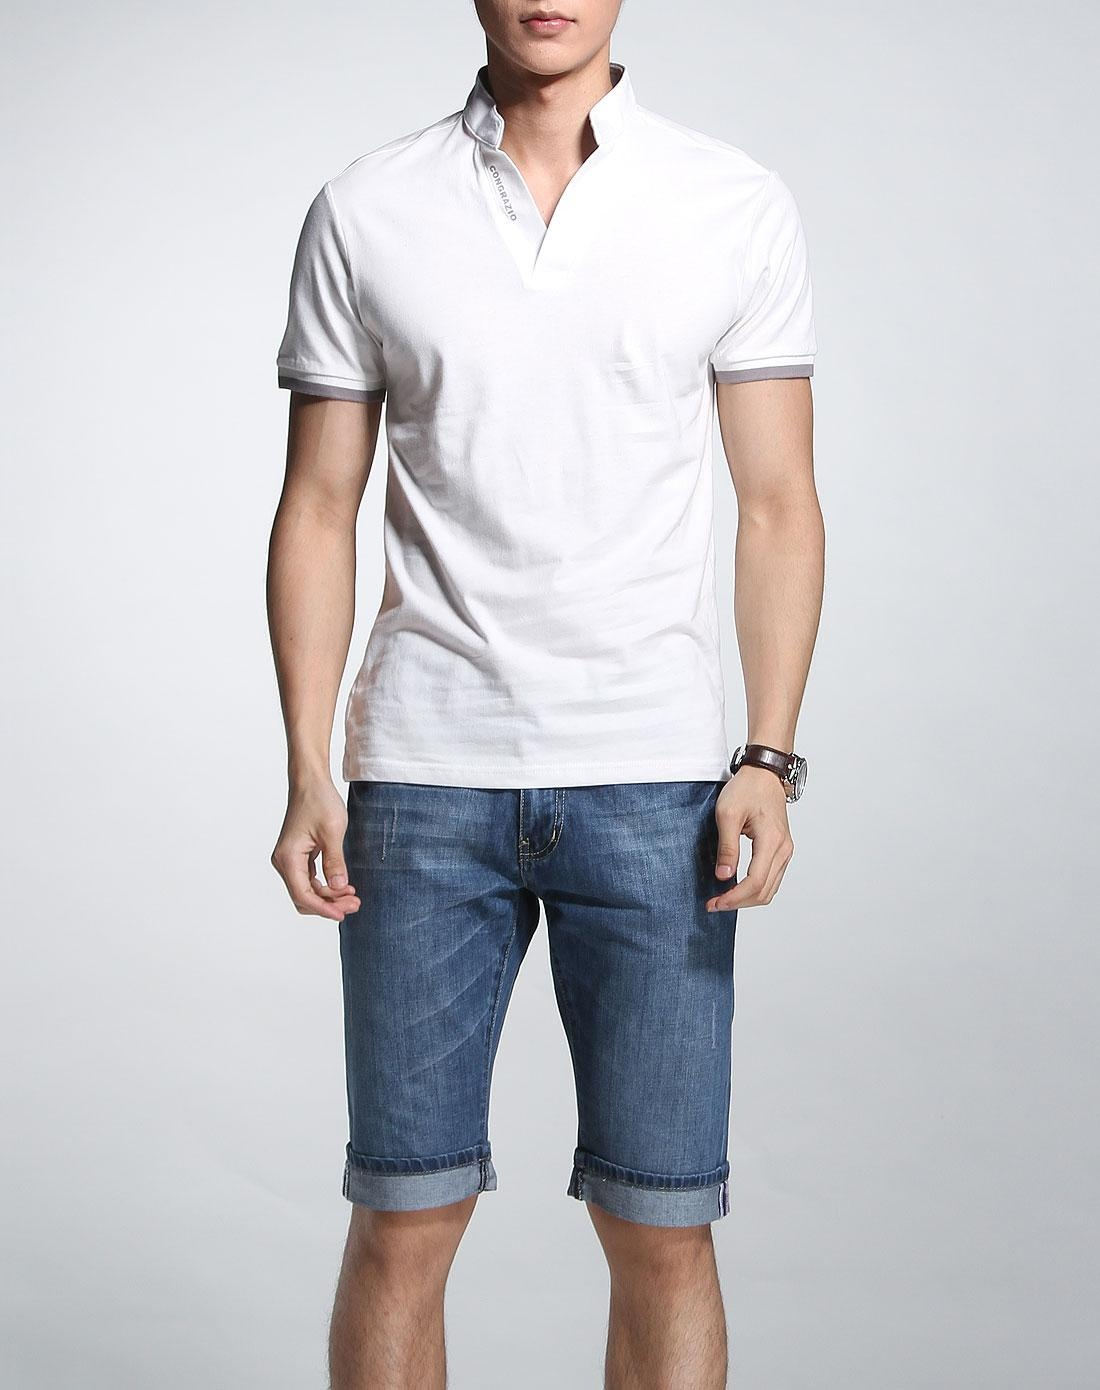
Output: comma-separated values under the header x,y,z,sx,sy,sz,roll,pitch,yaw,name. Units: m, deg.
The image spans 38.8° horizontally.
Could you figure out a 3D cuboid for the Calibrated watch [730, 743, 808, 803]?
x,y,z,sx,sy,sz,roll,pitch,yaw,name
0.190,0.063,1.328,0.066,0.039,0.065,11,-9,8,Calibrated watch
